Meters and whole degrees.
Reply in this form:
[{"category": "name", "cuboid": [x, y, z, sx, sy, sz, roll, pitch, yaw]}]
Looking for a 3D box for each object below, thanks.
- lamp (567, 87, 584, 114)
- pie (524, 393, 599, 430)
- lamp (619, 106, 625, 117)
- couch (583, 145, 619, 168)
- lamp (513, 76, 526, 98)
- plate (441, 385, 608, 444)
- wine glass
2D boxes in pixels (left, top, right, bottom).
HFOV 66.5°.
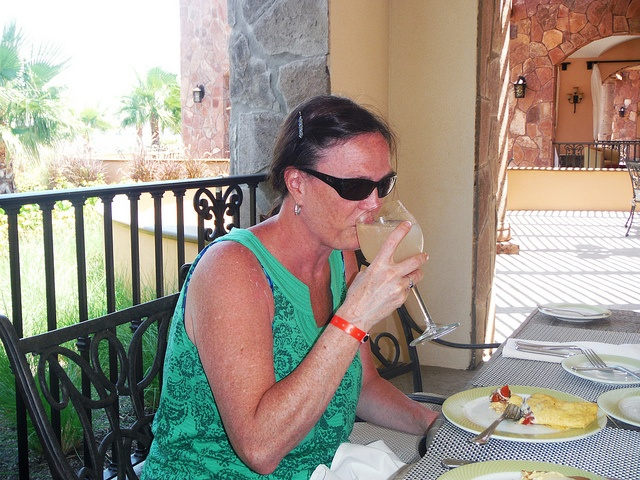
[{"category": "lamp", "cuboid": [8.110, -4.480, 15.614, 0.248, 0.785, 0.404, -4, 13, -30]}, {"category": "pie", "cuboid": [0.475, 0.341, 0.967, 0.099, 0.049, 0.109, 6, 8, 38]}, {"category": "lamp", "cuboid": [13.826, -5.901, 22.417, 0.254, 0.484, 0.194, 0, 11, -11]}, {"category": "couch", "cuboid": [7.884, -2.347, 13.799, 0.736, 1.036, 0.999, 2, 5, 44]}, {"category": "lamp", "cuboid": [5.243, -4.022, 12.858, 0.245, 0.563, 0.289, 10, 13, 33]}, {"category": "plate", "cuboid": [0.407, 0.328, 1.011, 0.208, 0.071, 0.229, 7, 7, 40]}, {"category": "wine glass", "cuboid": [0.200, 0.050, 1.278, 0.207, 0.412, 0.225, -6, 14, -36]}]
